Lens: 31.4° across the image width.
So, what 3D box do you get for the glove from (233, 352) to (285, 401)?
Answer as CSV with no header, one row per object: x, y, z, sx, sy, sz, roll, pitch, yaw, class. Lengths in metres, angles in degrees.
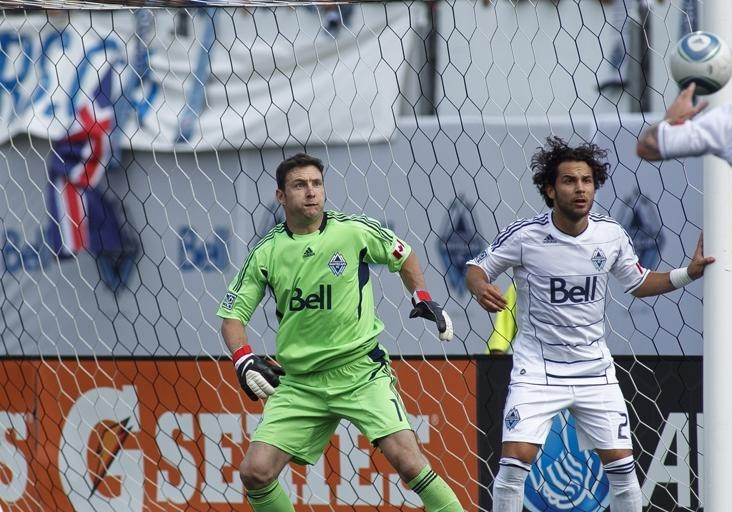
-0.641,0.713,7.825,0.214,0.267,0.131,-27,-30,-36,glove

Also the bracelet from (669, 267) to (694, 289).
1.910,0.127,7.950,0.109,0.130,0.118,19,1,18,bracelet

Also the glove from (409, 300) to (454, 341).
0.412,0.371,7.932,0.088,0.269,0.227,-11,4,-36,glove
